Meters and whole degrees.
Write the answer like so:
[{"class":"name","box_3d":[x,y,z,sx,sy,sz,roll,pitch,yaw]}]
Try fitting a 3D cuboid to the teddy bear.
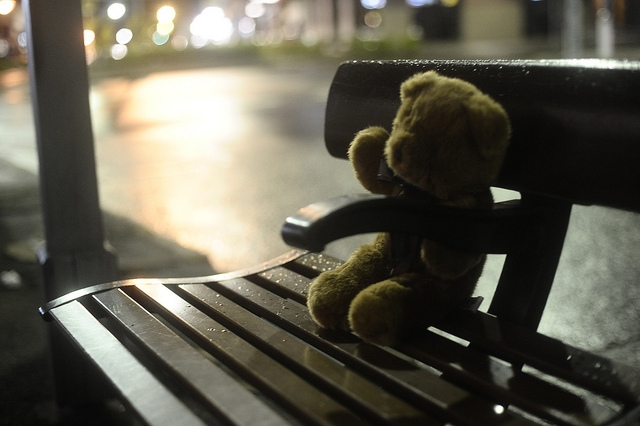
[{"class":"teddy bear","box_3d":[0.184,-0.010,1.157,0.383,0.534,0.362,15,25,35]}]
